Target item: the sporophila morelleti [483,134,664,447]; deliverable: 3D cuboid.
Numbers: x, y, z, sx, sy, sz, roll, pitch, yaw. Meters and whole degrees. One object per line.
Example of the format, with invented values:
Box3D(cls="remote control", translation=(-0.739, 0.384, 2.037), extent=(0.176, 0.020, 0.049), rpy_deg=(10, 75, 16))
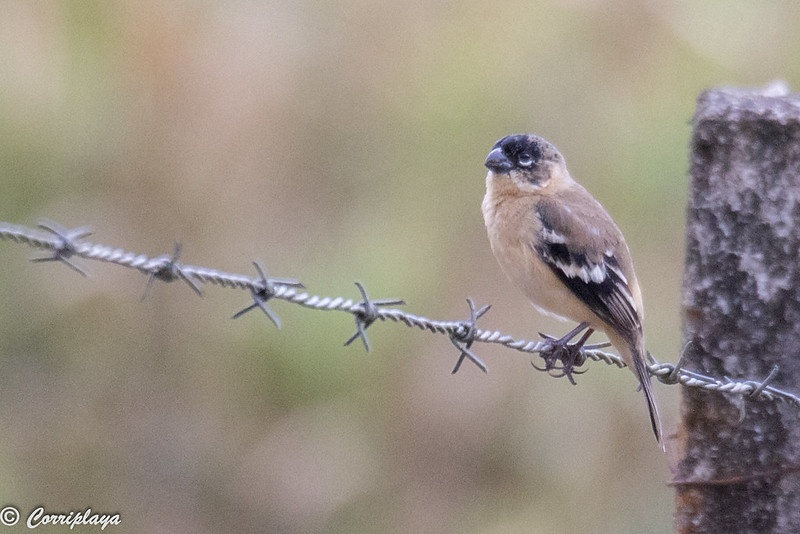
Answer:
Box3D(cls="sporophila morelleti", translation=(1.198, 0.106, 7.483), extent=(1.021, 2.208, 2.065), rpy_deg=(1, 1, 7))
